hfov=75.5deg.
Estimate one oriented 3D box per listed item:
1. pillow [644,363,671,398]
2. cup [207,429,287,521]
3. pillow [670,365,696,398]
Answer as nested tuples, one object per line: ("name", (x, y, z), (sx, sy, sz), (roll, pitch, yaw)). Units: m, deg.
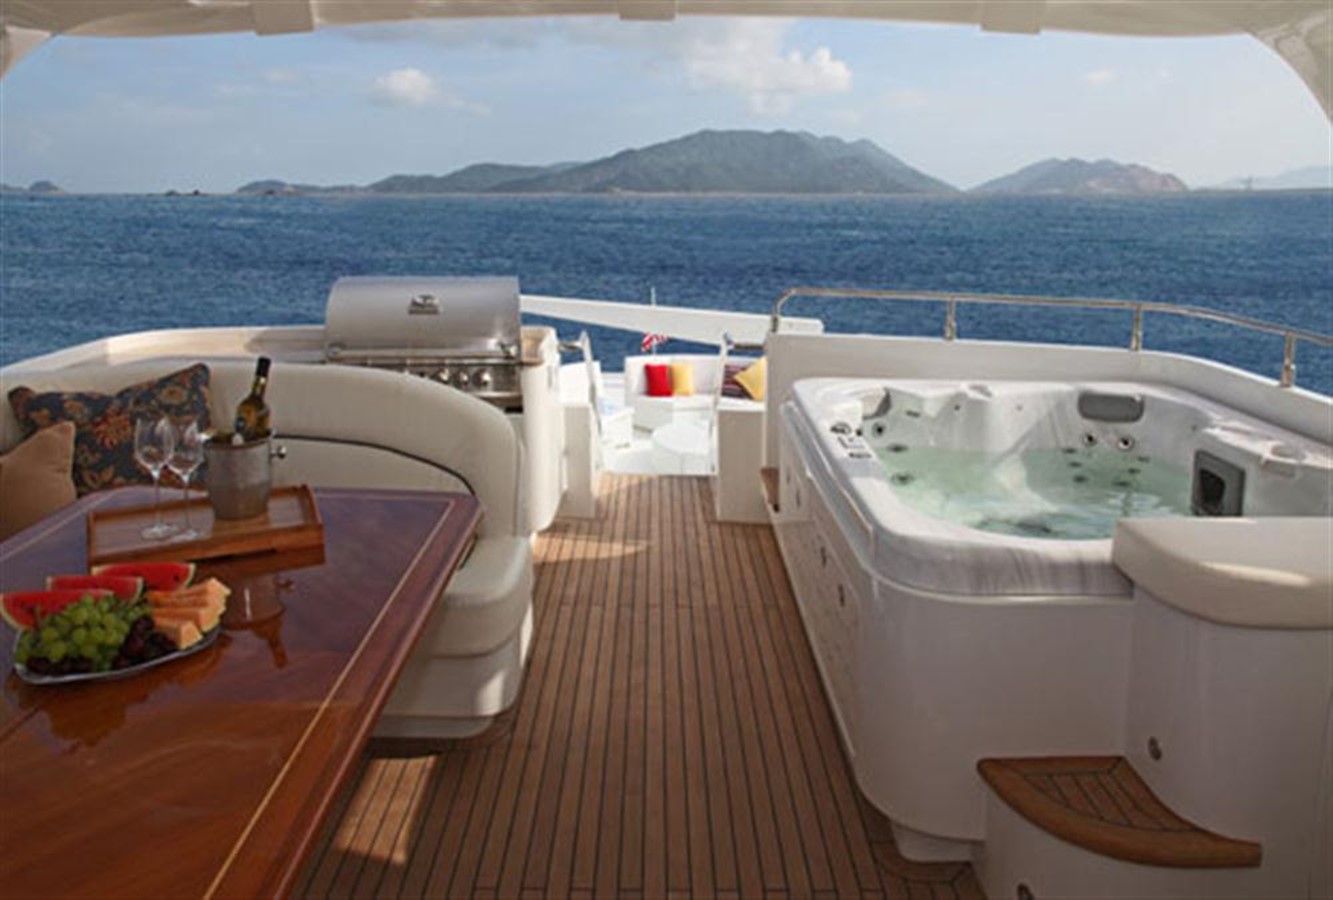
("pillow", (-0.090, -0.670, 8.370), (0.305, 0.380, 0.143), (-1, -4, 0))
("cup", (-1.021, 0.067, 2.172), (0.240, 0.209, 0.177), (-2, 21, -19))
("pillow", (0.136, -0.662, 8.364), (0.282, 0.324, 0.121), (7, -13, -31))
